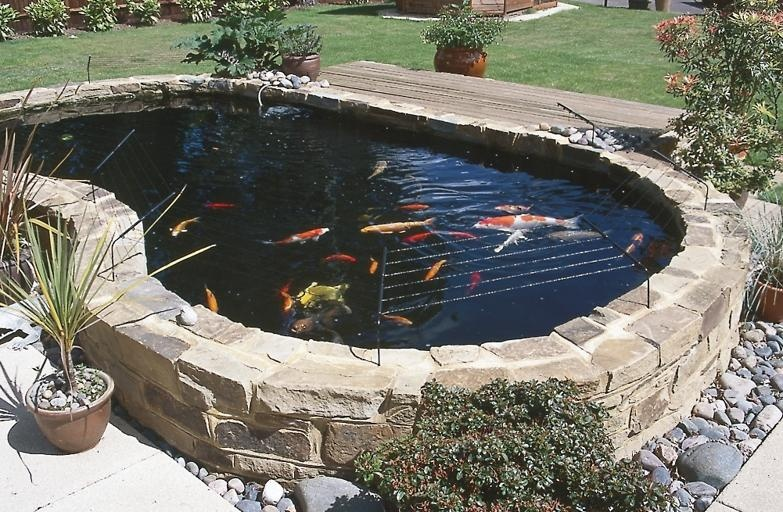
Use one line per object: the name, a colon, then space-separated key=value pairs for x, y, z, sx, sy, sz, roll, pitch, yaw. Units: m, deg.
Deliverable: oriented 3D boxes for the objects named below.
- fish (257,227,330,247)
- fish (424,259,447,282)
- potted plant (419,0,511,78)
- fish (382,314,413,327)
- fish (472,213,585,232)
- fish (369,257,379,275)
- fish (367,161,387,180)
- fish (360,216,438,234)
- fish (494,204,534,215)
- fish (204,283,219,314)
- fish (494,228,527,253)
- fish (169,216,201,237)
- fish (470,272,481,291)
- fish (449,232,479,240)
fish: x=-1.155 y=-0.218 z=6.900 sx=0.576 sy=0.107 sz=0.107 roll=-10 pitch=53 yaw=-8
fish: x=0.484 y=0.131 z=6.295 sx=0.097 sy=0.104 sz=0.419 roll=38 pitch=40 yaw=15
potted plant: x=1.420 y=-4.262 z=11.718 sx=1.361 sy=1.272 sz=0.855 roll=6 pitch=29 yaw=6
fish: x=0.056 y=0.613 z=5.708 sx=0.323 sy=0.033 sz=0.139 roll=14 pitch=28 yaw=22
fish: x=1.605 y=-0.391 z=6.936 sx=1.218 sy=0.194 sz=0.399 roll=6 pitch=27 yaw=7
fish: x=-0.200 y=0.109 z=6.421 sx=0.116 sy=0.037 sz=0.154 roll=-2 pitch=43 yaw=-3
fish: x=-0.204 y=-1.297 z=8.464 sx=0.225 sy=0.125 sz=0.486 roll=2 pitch=33 yaw=15
fish: x=0.089 y=-0.369 z=7.075 sx=0.690 sy=0.109 sz=0.133 roll=-6 pitch=28 yaw=-16
fish: x=1.541 y=-0.613 z=7.404 sx=0.433 sy=0.074 sz=0.357 roll=11 pitch=27 yaw=17
fish: x=-1.840 y=0.436 z=5.930 sx=0.087 sy=0.137 sz=0.300 roll=-18 pitch=42 yaw=-17
fish: x=1.367 y=-0.164 z=6.702 sx=0.208 sy=0.166 sz=0.518 roll=-9 pitch=21 yaw=48
fish: x=-2.556 y=-0.354 z=7.170 sx=0.183 sy=0.111 sz=0.292 roll=8 pitch=40 yaw=27
fish: x=0.879 y=0.258 z=6.126 sx=0.111 sy=0.046 sz=0.174 roll=10 pitch=43 yaw=21
fish: x=0.851 y=-0.249 z=6.876 sx=0.323 sy=0.027 sz=0.182 roll=8 pitch=26 yaw=11
